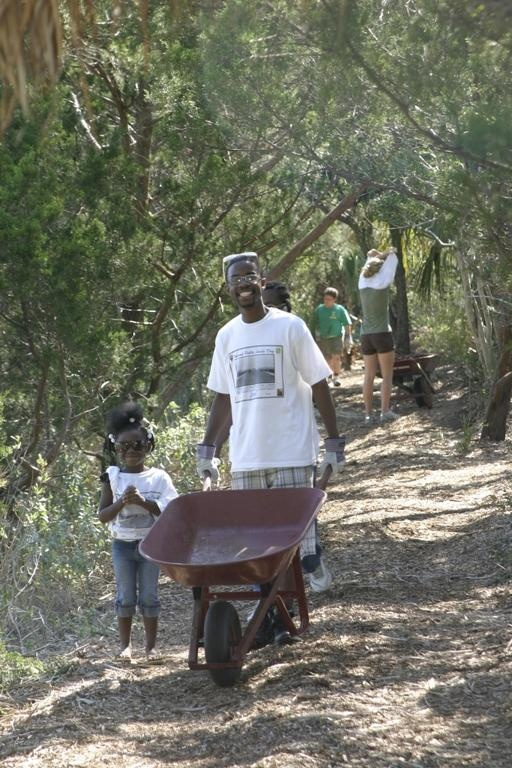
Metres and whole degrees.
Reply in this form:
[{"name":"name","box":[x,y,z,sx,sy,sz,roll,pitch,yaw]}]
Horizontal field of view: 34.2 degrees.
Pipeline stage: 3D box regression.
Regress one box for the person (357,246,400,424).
[{"name":"person","box":[1.281,-0.523,8.639,0.493,1.753,1.555,-7,0,7]}]

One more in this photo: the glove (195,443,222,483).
[{"name":"glove","box":[-0.206,0.362,3.741,0.103,0.153,0.168,4,-12,5]}]

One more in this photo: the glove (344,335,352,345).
[{"name":"glove","box":[1.648,-0.798,14.807,0.104,0.225,0.091,-6,-40,19]}]

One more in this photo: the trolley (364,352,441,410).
[{"name":"trolley","box":[1.954,-0.058,10.079,0.595,0.485,1.089,0,3,34]}]

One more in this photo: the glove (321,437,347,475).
[{"name":"glove","box":[0.356,0.313,3.584,0.125,0.194,0.133,0,-3,11]}]

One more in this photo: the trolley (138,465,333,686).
[{"name":"trolley","box":[-0.071,0.680,3.305,0.710,0.600,1.230,0,8,16]}]

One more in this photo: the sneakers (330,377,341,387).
[{"name":"sneakers","box":[1.227,-0.030,12.589,0.103,0.151,0.151,6,-3,-16]}]

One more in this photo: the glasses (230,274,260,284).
[{"name":"glasses","box":[-0.041,-0.440,3.490,0.063,0.018,0.062,-3,-13,2]}]
